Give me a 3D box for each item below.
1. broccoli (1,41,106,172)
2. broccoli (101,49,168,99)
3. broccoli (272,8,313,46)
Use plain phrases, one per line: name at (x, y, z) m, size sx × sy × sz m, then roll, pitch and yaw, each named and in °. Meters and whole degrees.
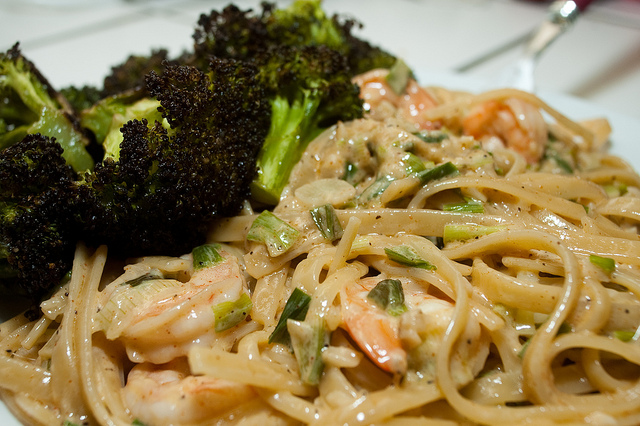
broccoli at (-1.813, -0.693, 3.972) m, size 0.895 × 0.470 × 0.804 m, roll 23°, pitch 39°, yaw 13°
broccoli at (-1.485, -1.100, 4.720) m, size 0.563 × 0.214 × 0.604 m, roll -37°, pitch 8°, yaw -9°
broccoli at (-0.226, -1.461, 4.642) m, size 0.392 × 0.194 × 0.277 m, roll -18°, pitch -8°, yaw 3°
